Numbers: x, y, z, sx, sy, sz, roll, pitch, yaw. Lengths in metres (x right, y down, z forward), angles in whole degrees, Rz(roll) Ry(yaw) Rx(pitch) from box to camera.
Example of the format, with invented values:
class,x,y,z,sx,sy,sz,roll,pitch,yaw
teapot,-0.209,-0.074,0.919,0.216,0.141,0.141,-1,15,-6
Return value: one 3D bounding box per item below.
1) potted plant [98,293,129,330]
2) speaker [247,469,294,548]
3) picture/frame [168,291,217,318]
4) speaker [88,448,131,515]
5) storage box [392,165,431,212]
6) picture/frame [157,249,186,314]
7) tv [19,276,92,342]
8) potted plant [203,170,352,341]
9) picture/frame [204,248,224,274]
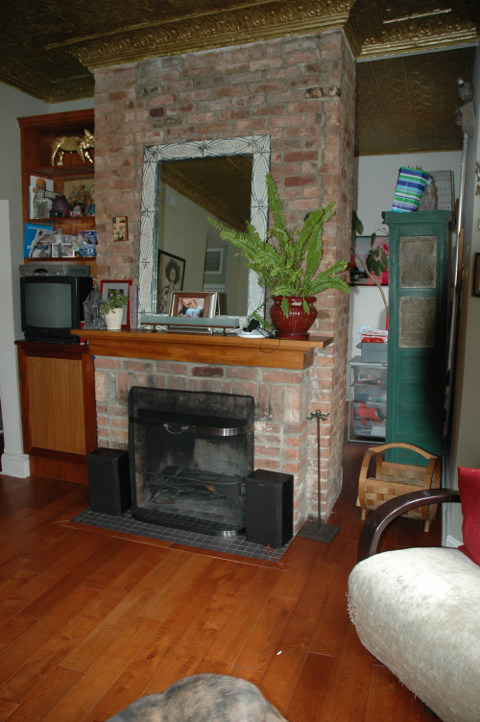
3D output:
class,x,y,z,sx,sy,sz,roll,pitch,yaw
potted plant,-0.697,-0.281,2.921,0.145,0.212,0.238,0,7,3
speaker,0.140,0.704,2.526,0.206,0.337,0.199,3,8,20
picture/frame,-0.232,-0.280,2.649,0.153,0.114,0.016,1,-10,24
speaker,-0.700,0.655,2.870,0.214,0.337,0.153,3,8,25
storage box,0.962,-0.952,2.955,0.201,0.236,0.130,2,7,16
picture/frame,-0.381,-0.410,2.905,0.144,0.348,0.019,5,12,-16
tv,-1.172,-0.328,3.355,0.380,0.405,0.281,3,8,4
potted plant,0.197,-0.497,2.476,0.610,0.773,0.429,1,7,10
picture/frame,-0.131,-0.519,2.741,0.119,0.139,0.009,6,9,26
